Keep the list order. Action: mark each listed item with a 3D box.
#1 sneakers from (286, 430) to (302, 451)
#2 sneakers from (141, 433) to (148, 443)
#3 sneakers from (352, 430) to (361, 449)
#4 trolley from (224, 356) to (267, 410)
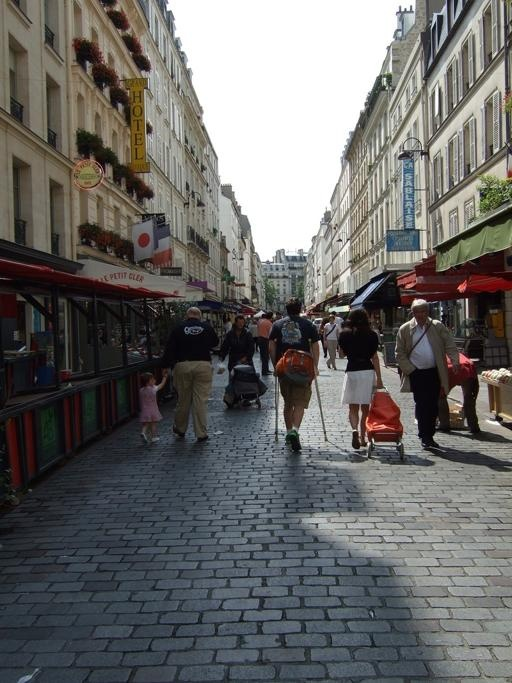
[{"bbox_3d":[0.526,1.377,6.609,0.140,0.355,0.169,-2,44,20],"label":"sneakers"},{"bbox_3d":[-1.763,1.544,7.593,0.057,0.174,0.075,-5,41,8],"label":"sneakers"},{"bbox_3d":[1.429,1.402,6.766,0.096,0.299,0.109,-1,4,9],"label":"sneakers"},{"bbox_3d":[-0.255,1.008,11.297,0.804,1.207,1.160,2,-26,-7],"label":"trolley"}]
